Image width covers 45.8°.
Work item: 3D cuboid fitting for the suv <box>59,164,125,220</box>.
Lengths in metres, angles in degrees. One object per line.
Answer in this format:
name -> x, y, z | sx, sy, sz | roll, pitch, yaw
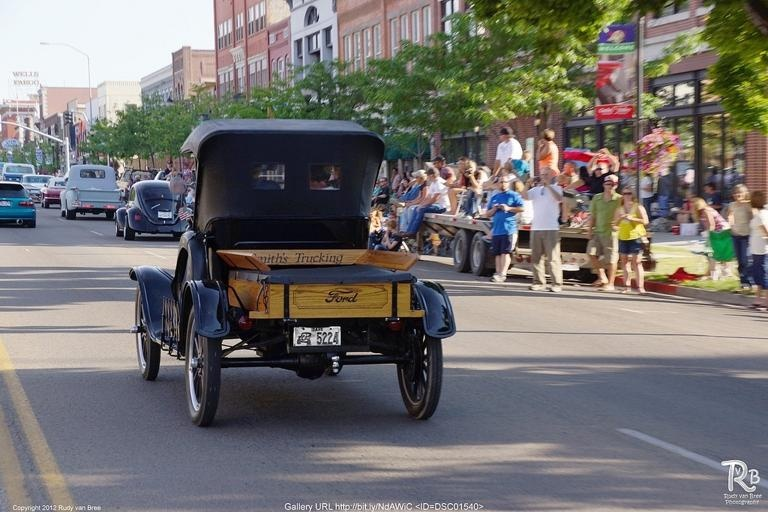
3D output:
suv -> -13.630, -2.955, 42.274 | 2.854, 2.068, 4.792 | -1, 8, -25
